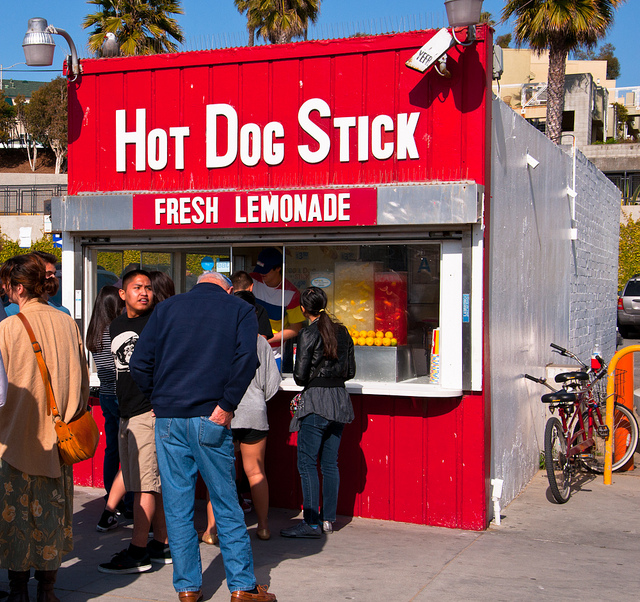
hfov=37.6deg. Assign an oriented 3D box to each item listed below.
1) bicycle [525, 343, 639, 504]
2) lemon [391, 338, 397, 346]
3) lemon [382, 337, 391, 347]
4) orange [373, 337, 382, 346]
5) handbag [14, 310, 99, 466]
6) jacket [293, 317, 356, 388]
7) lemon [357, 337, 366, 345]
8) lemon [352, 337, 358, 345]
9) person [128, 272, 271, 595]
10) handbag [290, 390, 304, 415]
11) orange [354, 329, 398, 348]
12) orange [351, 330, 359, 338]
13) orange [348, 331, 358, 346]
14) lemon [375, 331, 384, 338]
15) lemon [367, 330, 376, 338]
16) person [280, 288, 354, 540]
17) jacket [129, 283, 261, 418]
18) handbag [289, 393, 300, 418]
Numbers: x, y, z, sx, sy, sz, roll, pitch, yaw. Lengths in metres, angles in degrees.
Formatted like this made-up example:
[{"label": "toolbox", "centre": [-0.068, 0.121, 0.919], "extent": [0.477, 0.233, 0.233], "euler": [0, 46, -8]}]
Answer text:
[{"label": "bicycle", "centre": [2.481, 1.252, 8.980], "extent": [0.849, 1.168, 1.691], "euler": [-5, 5, 35]}, {"label": "lemon", "centre": [0.614, 0.348, 7.801], "extent": [0.050, 0.055, 0.029], "euler": [2, 3, 17]}, {"label": "lemon", "centre": [0.552, 0.344, 7.831], "extent": [0.051, 0.072, 0.056], "euler": [8, 14, 16]}, {"label": "orange", "centre": [0.483, 0.344, 7.864], "extent": [0.062, 0.063, 0.052], "euler": [-28, -17, 38]}, {"label": "handbag", "centre": [-1.574, 0.548, 5.658], "extent": [0.472, 0.938, 0.243], "euler": [0, 3, -18]}, {"label": "jacket", "centre": [0.048, 0.376, 7.262], "extent": [0.459, 0.581, 0.319], "euler": [-3, 7, -22]}, {"label": "lemon", "centre": [0.350, 0.344, 7.919], "extent": [0.052, 0.061, 0.068], "euler": [-15, 23, 38]}, {"label": "lemon", "centre": [0.298, 0.341, 7.944], "extent": [0.024, 0.053, 0.049], "euler": [-7, 17, 3]}, {"label": "person", "centre": [-0.742, 0.863, 5.807], "extent": [0.822, 1.929, 0.299], "euler": [1, 3, 13]}, {"label": "handbag", "centre": [-0.187, 0.796, 7.275], "extent": [0.058, 0.191, 0.127], "euler": [13, -13, -10]}, {"label": "orange", "centre": [0.467, 0.310, 7.889], "extent": [0.359, 0.125, 0.071], "euler": [3, 4, 24]}, {"label": "orange", "centre": [0.300, 0.285, 7.978], "extent": [0.040, 0.049, 0.055], "euler": [19, 13, 31]}, {"label": "orange", "centre": [0.279, 0.316, 7.918], "extent": [0.069, 0.057, 0.090], "euler": [23, 10, 5]}, {"label": "lemon", "centre": [0.501, 0.286, 7.884], "extent": [0.047, 0.055, 0.048], "euler": [-18, 32, -36]}, {"label": "lemon", "centre": [0.434, 0.286, 7.910], "extent": [0.071, 0.050, 0.037], "euler": [1, 3, 8]}, {"label": "person", "centre": [-0.013, 0.863, 7.213], "extent": [0.543, 1.890, 0.321], "euler": [1, 3, -1]}, {"label": "jacket", "centre": [-0.796, 0.338, 5.874], "extent": [0.771, 0.961, 0.425], "euler": [0, -1, 16]}, {"label": "handbag", "centre": [-0.203, 0.826, 7.294], "extent": [0.055, 0.193, 0.128], "euler": [3, 1, 4]}]
